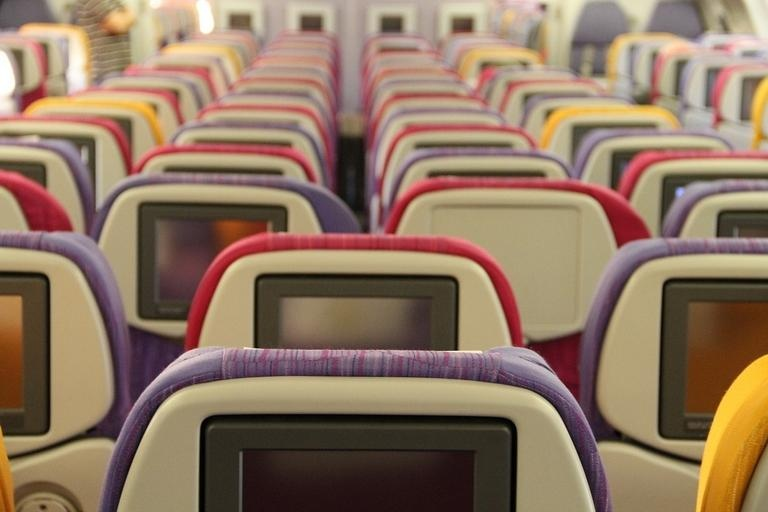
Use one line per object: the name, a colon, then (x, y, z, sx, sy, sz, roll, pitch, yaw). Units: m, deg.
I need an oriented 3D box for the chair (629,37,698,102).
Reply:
chair: (2.246, -1.589, 7.455, 0.624, 0.653, 0.556, 0, 15, 1)

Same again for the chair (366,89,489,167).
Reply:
chair: (0.192, -0.729, 4.831, 0.720, 0.428, 1.028, -2, 9, -6)

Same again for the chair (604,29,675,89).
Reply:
chair: (2.437, -1.978, 8.786, 0.705, 0.806, 0.622, 3, 16, 11)

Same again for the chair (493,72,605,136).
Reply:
chair: (0.894, -0.889, 4.955, 0.439, 0.505, 0.469, 0, 4, -3)

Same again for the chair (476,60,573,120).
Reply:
chair: (0.889, -1.103, 5.644, 0.510, 0.280, 0.552, -3, 16, -2)

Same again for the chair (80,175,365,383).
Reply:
chair: (-0.385, 0.170, 2.307, 0.675, 0.707, 0.376, 0, 13, -2)

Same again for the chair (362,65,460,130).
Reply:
chair: (0.129, -0.994, 5.346, 0.419, 0.255, 0.781, -1, 8, 0)

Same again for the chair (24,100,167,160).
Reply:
chair: (-1.078, -0.462, 3.353, 0.348, 0.358, 0.192, 1, 13, -2)

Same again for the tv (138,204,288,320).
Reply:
tv: (-0.379, -0.001, 2.044, 0.239, 0.235, 0.034, 1, 12, -2)

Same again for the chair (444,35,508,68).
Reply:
chair: (0.840, -2.095, 9.029, 0.607, 0.322, 1.086, -1, 9, 0)

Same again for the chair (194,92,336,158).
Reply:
chair: (-0.459, -0.508, 3.512, 0.500, 0.268, 0.789, 1, 4, 0)

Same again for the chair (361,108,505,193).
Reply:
chair: (0.192, -0.559, 3.774, 0.451, 0.527, 0.402, -2, 21, -3)

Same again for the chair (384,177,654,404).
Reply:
chair: (0.356, 0.033, 2.260, 0.497, 0.525, 0.433, 0, 5, 1)
